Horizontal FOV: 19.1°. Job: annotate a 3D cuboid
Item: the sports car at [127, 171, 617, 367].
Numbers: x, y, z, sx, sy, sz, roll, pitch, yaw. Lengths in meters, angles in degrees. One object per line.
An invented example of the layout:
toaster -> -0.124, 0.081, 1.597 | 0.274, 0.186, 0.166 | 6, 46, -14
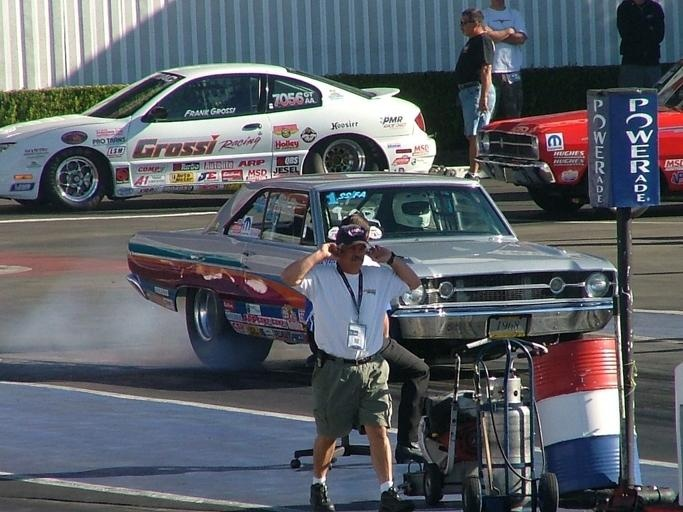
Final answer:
sports car -> 0.060, 0.088, 19.225 | 3.804, 1.248, 1.937 | 4, 7, 40

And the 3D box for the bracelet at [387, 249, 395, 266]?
bracelet -> 0.398, 0.023, 16.805 | 0.063, 0.085, 0.087 | 25, -35, -22

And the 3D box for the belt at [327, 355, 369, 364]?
belt -> 0.058, 0.833, 16.640 | 0.334, 0.064, 0.070 | 0, 3, 8

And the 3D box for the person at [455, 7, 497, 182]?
person -> 1.666, -2.019, 25.656 | 0.489, 2.095, 0.899 | 0, 2, 4

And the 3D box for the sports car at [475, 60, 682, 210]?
sports car -> 3.166, -1.366, 25.811 | 2.703, 0.954, 1.493 | -3, 2, -14
